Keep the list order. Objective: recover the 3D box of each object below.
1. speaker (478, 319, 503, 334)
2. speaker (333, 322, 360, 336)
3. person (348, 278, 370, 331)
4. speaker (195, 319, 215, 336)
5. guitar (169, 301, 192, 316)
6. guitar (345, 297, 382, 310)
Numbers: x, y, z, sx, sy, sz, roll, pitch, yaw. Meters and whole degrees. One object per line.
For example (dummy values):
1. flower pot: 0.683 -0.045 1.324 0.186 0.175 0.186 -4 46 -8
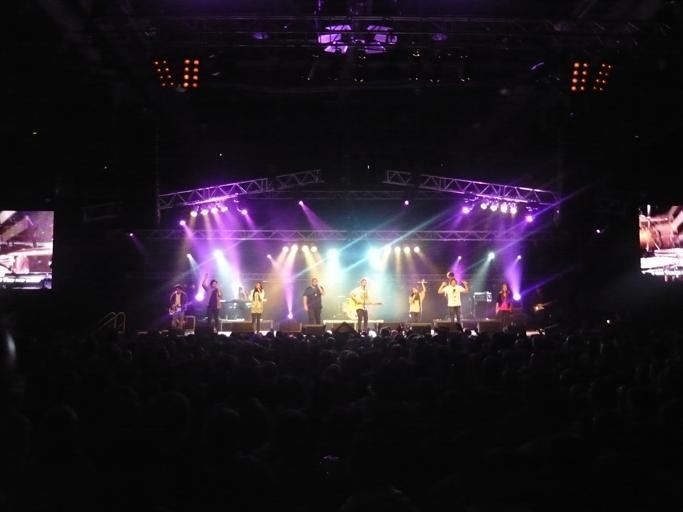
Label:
1. speaker: 3.586 1.694 15.777 0.499 0.324 0.262 4 -13 -27
2. speaker: 0.122 1.563 14.195 0.679 0.316 0.674 0 -10 -1
3. person: 0.560 1.351 17.826 0.604 1.238 0.193 2 -7 15
4. speaker: -3.298 1.718 15.849 0.254 0.316 0.469 0 -8 -6
5. guitar: -4.809 1.443 19.140 0.835 0.214 0.458 -4 -20 1
6. guitar: 0.630 1.395 19.152 1.085 0.157 0.467 7 29 4
